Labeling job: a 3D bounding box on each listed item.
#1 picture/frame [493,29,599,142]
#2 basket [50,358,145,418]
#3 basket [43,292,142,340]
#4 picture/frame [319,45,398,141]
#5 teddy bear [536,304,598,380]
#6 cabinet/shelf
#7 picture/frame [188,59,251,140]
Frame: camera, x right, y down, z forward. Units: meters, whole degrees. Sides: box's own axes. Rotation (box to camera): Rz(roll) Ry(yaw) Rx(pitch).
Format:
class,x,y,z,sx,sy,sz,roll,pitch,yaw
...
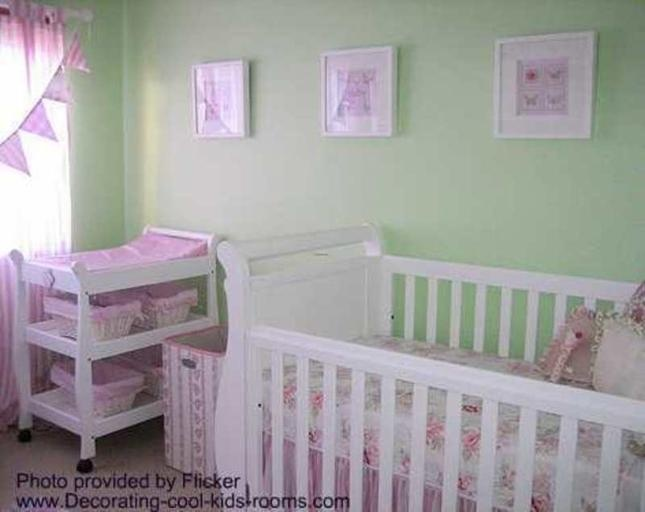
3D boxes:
class,x,y,z,sx,sy,sz,roll,pitch,yaw
picture/frame,0.857,-0.651,2.163,0.400,0.422,0.033,6,12,31
basket,-1.005,0.613,2.807,0.268,0.132,0.367,-10,21,-26
basket,-1.088,0.280,2.672,0.290,0.135,0.230,5,4,33
picture/frame,0.175,-0.735,2.559,0.399,0.420,0.056,5,11,34
teddy bear,0.929,0.325,2.144,0.203,0.263,0.110,11,-1,23
cabinet/shelf,-1.069,0.452,2.959,0.915,1.005,0.843,-2,8,-34
picture/frame,-0.519,-0.822,2.998,0.405,0.425,0.060,5,6,39
